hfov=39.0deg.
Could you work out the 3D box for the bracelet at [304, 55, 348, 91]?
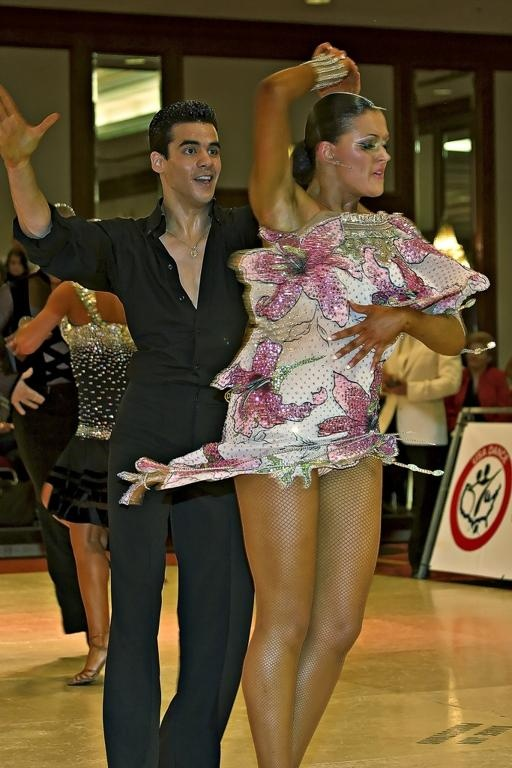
[{"bbox_3d":[0.145,-0.659,1.513,0.095,0.059,0.025,-19,9,-40],"label":"bracelet"}]
